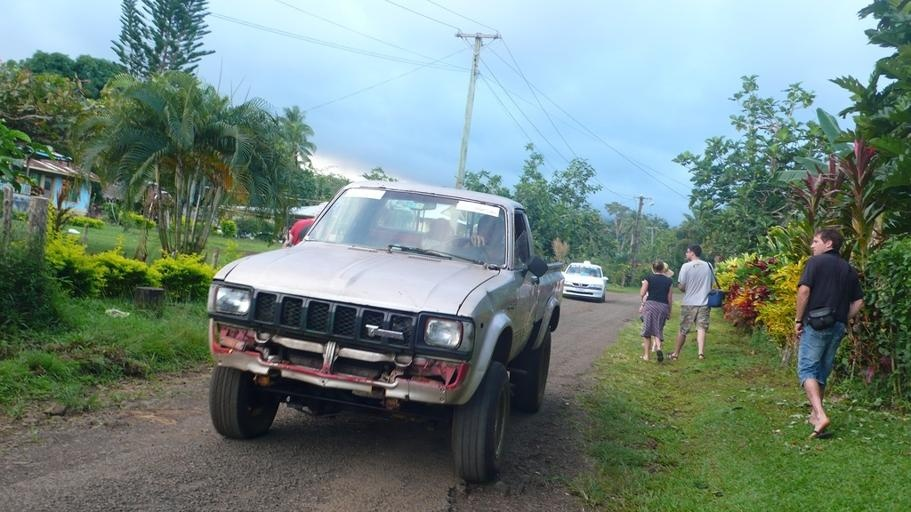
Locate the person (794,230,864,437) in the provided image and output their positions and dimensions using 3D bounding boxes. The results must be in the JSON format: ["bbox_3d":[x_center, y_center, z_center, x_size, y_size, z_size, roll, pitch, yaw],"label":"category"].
[{"bbox_3d":[5.675,1.127,9.082,0.774,2.626,0.650,9,-2,-37],"label":"person"}]

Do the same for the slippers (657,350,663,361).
[{"bbox_3d":[4.867,2.368,13.919,0.118,0.316,0.144,-8,29,7],"label":"slippers"}]

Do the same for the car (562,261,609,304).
[{"bbox_3d":[6.376,1.101,28.788,2.138,1.619,4.793,1,-6,14],"label":"car"}]

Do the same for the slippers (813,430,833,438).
[{"bbox_3d":[5.438,2.624,8.733,0.295,0.112,0.113,5,-9,-26],"label":"slippers"}]

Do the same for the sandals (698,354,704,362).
[{"bbox_3d":[5.791,2.400,13.879,0.150,0.118,0.247,-2,-3,21],"label":"sandals"}]

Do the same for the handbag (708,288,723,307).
[{"bbox_3d":[6.273,0.998,14.255,0.307,0.444,0.331,-3,-43,37],"label":"handbag"}]

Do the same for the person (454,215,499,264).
[{"bbox_3d":[0.396,-0.239,8.740,0.729,0.675,0.226,17,-9,-3],"label":"person"}]
